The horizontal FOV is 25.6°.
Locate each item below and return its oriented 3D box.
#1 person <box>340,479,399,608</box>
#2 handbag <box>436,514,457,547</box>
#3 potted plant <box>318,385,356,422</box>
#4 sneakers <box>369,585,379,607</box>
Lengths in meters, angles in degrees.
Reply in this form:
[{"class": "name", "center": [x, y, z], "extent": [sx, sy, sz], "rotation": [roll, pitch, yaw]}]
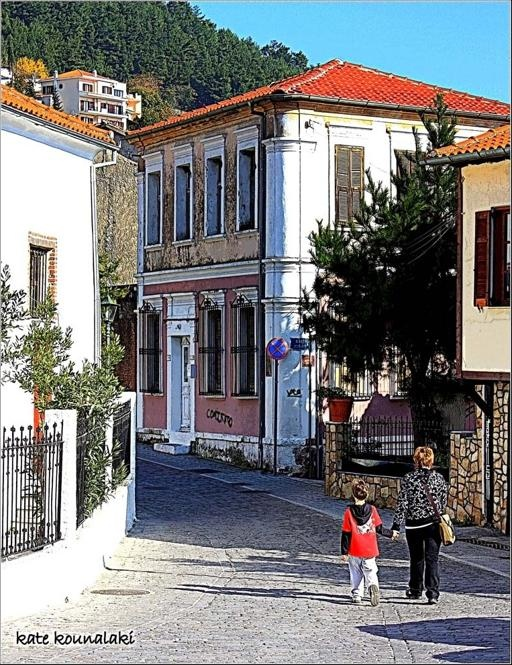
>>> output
[{"class": "person", "center": [1.122, 2.119, 11.513], "extent": [0.471, 1.233, 0.884], "rotation": [0, 0, 7]}, {"class": "handbag", "center": [1.919, 1.985, 11.335], "extent": [0.137, 0.351, 0.523], "rotation": [0, 0, 11]}, {"class": "potted plant", "center": [1.614, 1.411, 21.960], "extent": [0.603, 0.911, 0.651], "rotation": [-5, -8, 33]}, {"class": "sneakers", "center": [1.178, 2.594, 11.130], "extent": [0.065, 0.261, 0.094], "rotation": [-1, -5, -11]}]
